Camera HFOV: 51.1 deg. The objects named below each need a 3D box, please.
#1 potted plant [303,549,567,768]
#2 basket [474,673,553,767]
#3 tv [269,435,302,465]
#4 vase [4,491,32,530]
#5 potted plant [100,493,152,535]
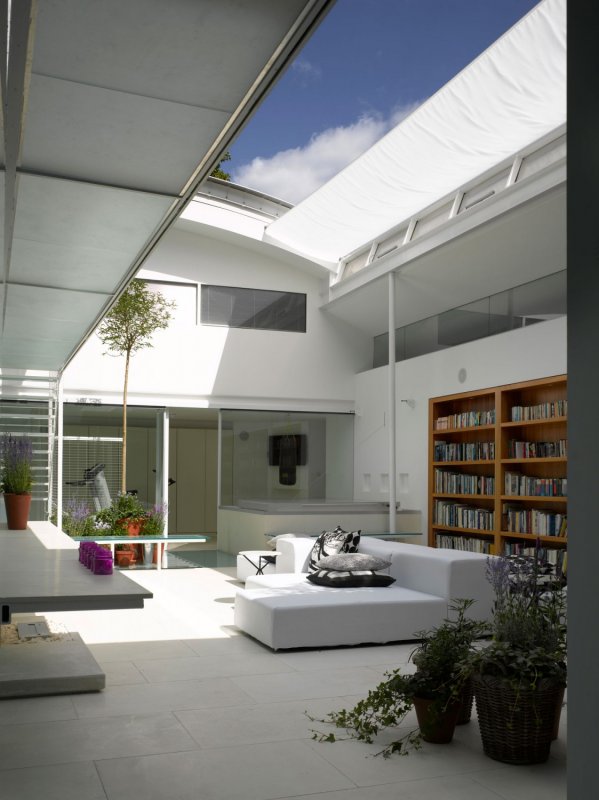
[{"bbox_3d":[0.819,1.344,3.293,1.460,1.128,1.108,-1,-4,-3],"label":"potted plant"},{"bbox_3d":[0.964,1.434,2.895,0.338,0.301,0.394,2,-9,0],"label":"basket"},{"bbox_3d":[-0.322,1.021,12.984,0.606,0.543,0.084,1,-4,-21],"label":"tv"},{"bbox_3d":[-2.481,0.982,5.535,0.318,0.366,0.312,5,-5,-30],"label":"vase"},{"bbox_3d":[-2.701,1.843,10.096,0.675,0.628,0.647,1,-3,-10],"label":"potted plant"}]
